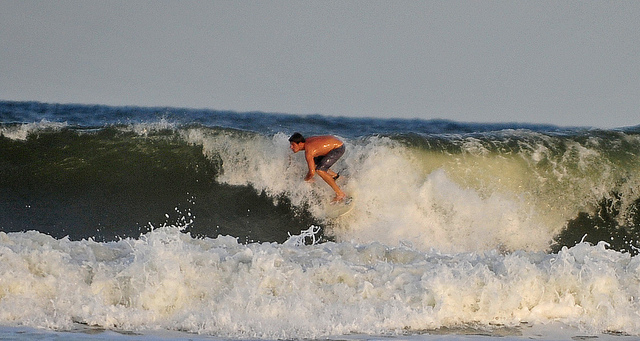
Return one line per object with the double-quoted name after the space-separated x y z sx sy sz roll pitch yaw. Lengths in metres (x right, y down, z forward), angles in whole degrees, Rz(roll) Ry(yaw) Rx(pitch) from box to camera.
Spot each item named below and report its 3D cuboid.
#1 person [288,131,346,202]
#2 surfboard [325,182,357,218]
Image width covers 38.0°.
0.105 -0.199 23.349 1.264 1.478 1.334 12 26 41 "person"
0.572 0.760 23.586 0.845 0.854 0.475 -1 16 -14 "surfboard"
